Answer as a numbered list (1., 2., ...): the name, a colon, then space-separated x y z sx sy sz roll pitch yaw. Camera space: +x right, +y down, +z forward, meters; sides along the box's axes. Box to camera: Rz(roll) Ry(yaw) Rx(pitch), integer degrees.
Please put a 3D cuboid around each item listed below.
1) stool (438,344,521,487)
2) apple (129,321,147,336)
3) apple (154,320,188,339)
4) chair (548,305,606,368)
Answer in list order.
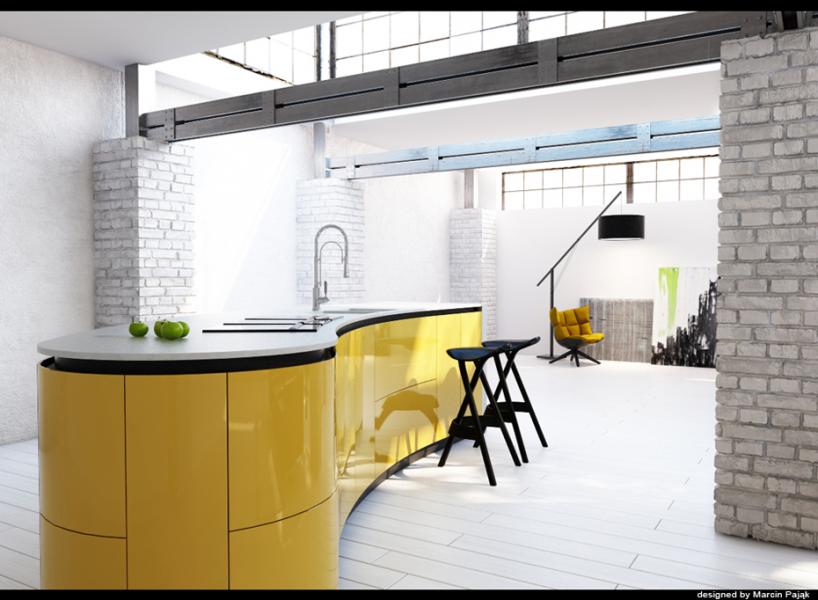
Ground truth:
1. stool: 0.541 0.789 4.959 0.620 0.909 1.189 1 6 9
2. apple: -1.332 0.145 3.226 0.088 0.063 0.063 11 -26 7
3. apple: -1.138 0.140 3.122 0.114 0.054 0.113 1 1 19
4. chair: 2.477 0.501 9.702 0.741 0.771 0.705 -1 4 -38
